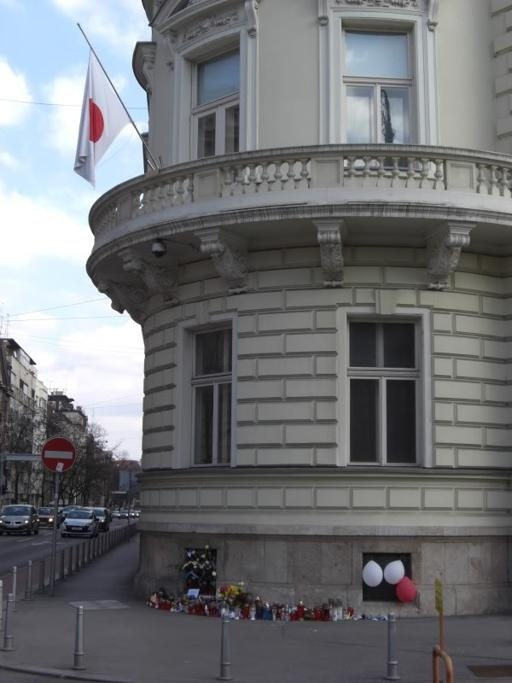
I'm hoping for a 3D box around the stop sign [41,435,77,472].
[{"bbox_3d":[-3.600,2.053,22.111,0.570,0.703,0.706,3,-13,-11],"label":"stop sign"}]

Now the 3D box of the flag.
[{"bbox_3d":[-2.913,-4.052,22.435,1.198,0.282,3.061,-19,-26,-12],"label":"flag"}]

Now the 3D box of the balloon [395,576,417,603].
[{"bbox_3d":[2.012,3.322,16.318,0.217,0.312,0.593,-1,-13,6],"label":"balloon"}]
